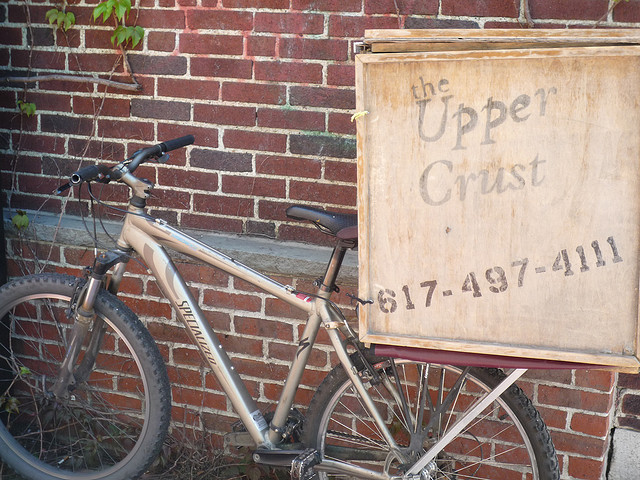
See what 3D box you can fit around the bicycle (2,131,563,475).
[{"bbox_3d":[-0.407,0.392,3.566,2.877,1.484,1.023,6,1,19],"label":"bicycle"}]
